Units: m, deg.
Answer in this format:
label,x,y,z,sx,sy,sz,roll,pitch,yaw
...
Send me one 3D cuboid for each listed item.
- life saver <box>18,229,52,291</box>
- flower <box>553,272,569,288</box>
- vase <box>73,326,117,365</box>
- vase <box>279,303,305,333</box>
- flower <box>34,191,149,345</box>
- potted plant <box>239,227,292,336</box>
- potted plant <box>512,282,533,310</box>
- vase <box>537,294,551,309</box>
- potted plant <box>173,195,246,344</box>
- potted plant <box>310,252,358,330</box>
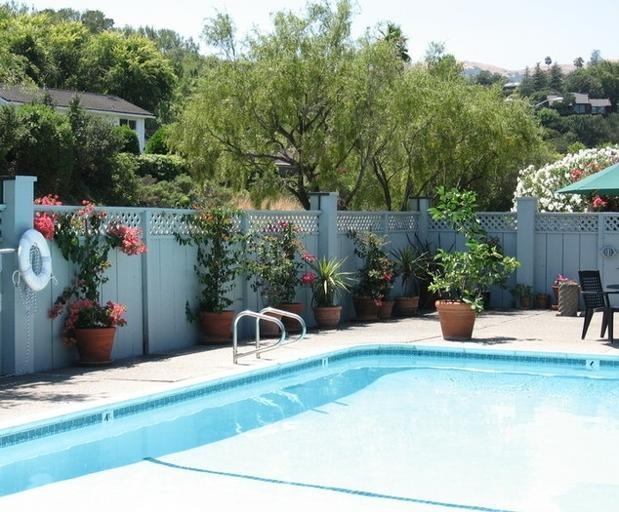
label,x,y,z,sx,sy,sz,roll,pitch,yaw
life saver,-3.267,0.055,8.874,0.117,0.609,0.547,-8,-40,15
flower,5.164,0.493,15.374,0.312,0.286,0.327,-4,5,-33
vase,-2.763,1.098,9.590,0.514,0.508,0.537,8,11,34
vase,-0.280,1.006,12.218,0.368,0.475,0.427,-1,3,-4
flower,-2.827,0.241,9.618,0.577,2.257,1.560,-4,-7,33
potted plant,-0.606,0.176,12.220,0.709,1.348,1.285,6,10,29
potted plant,4.560,0.844,15.887,0.390,0.585,0.441,1,-6,-5
vase,4.949,0.974,15.746,0.240,0.317,0.279,1,1,17
potted plant,-1.446,0.301,11.384,0.635,2.009,1.397,7,10,36
potted plant,0.329,0.613,13.265,0.792,1.407,1.048,0,-6,2
